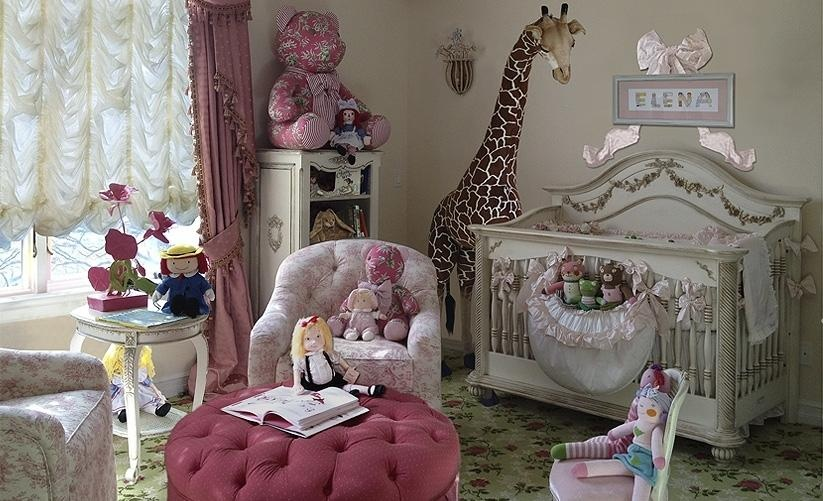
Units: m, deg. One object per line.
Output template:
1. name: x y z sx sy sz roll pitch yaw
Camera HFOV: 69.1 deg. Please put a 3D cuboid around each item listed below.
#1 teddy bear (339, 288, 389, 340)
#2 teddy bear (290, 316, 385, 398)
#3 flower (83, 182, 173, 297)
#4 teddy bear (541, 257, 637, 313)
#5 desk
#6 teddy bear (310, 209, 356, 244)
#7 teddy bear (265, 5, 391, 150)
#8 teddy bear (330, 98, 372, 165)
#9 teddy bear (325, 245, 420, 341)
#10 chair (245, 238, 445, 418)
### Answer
1. teddy bear: -0.292 0.405 3.989 0.353 0.352 0.296 -1 -3 2
2. teddy bear: -0.431 0.579 3.322 0.510 0.394 0.361 6 7 41
3. flower: -1.818 -0.071 4.048 0.656 0.734 0.742 12 1 -20
4. teddy bear: 1.154 0.218 3.943 0.598 0.349 0.098 5 7 28
5. desk: -1.669 0.790 4.090 0.947 1.114 0.961 5 6 41
6. teddy bear: -0.633 -0.170 4.629 0.269 0.108 0.274 -4 16 -15
7. teddy bear: -0.654 -1.270 4.471 0.816 1.057 0.423 0 7 -15
8. teddy bear: -0.487 -0.930 4.583 0.298 0.450 0.275 7 26 4
9. teddy bear: -0.269 0.276 3.966 0.630 0.636 0.550 0 3 -4
10. chair: -0.398 0.437 4.163 1.203 1.172 1.148 1 -1 -3
